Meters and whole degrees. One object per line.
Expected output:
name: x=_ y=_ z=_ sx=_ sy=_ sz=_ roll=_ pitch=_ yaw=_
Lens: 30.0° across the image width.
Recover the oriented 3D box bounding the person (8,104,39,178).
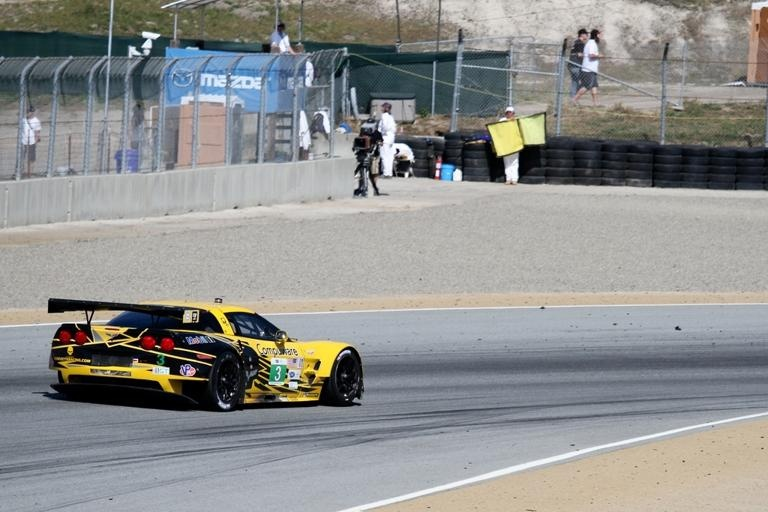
person: x=-8.305 y=-2.627 z=33.162 sx=0.592 sy=1.649 sz=0.522 roll=-6 pitch=8 yaw=-37

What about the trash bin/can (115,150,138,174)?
trash bin/can: x=-6.377 y=-2.343 z=35.394 sx=0.643 sy=0.551 sz=0.430 roll=-6 pitch=11 yaw=-40

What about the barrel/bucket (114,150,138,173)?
barrel/bucket: x=-6.356 y=-2.331 z=35.344 sx=0.616 sy=0.569 sz=0.410 roll=-4 pitch=6 yaw=-21

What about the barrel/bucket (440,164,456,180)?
barrel/bucket: x=1.901 y=-2.559 z=43.902 sx=0.494 sy=0.429 sz=0.480 roll=4 pitch=-2 yaw=0

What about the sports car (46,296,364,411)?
sports car: x=-2.673 y=1.701 z=23.505 sx=2.188 sy=1.133 sz=3.810 roll=3 pitch=1 yaw=44

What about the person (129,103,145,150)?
person: x=-6.041 y=-3.177 z=34.977 sx=0.356 sy=1.187 sz=0.674 roll=-2 pitch=6 yaw=-10
